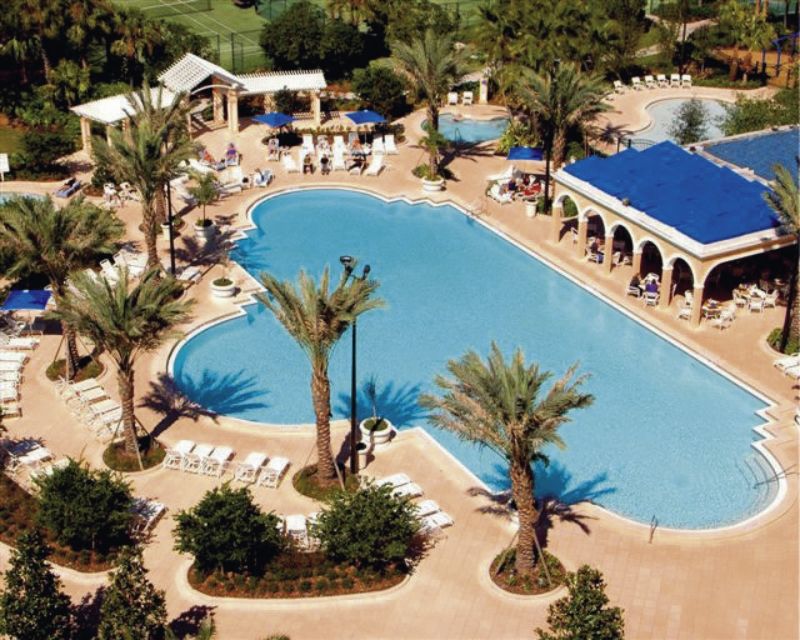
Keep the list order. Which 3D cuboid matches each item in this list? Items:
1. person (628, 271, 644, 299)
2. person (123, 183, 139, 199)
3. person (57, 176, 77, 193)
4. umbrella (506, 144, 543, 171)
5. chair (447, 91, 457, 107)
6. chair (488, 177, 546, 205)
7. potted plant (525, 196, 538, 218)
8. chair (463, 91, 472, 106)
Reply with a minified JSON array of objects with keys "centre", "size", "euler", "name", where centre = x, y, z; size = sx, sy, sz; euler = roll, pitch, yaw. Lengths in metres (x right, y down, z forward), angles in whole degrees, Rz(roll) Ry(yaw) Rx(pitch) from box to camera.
[{"centre":[10.988,-1.621,32.565],"size":[0.614,1.112,0.755],"euler":[-14,39,-15],"name":"person"},{"centre":[-15.814,-7.467,40.511],"size":[0.742,0.876,1.462],"euler":[-14,27,-20],"name":"person"},{"centre":[-19.630,-8.064,41.280],"size":[0.763,0.413,1.325],"euler":[1,27,5],"name":"person"},{"centre":[7.731,-9.714,42.979],"size":[1.908,1.778,1.968],"euler":[0,22,-1],"name":"umbrella"},{"centre":[4.006,-17.081,53.409],"size":[0.782,0.927,1.154],"euler":[-2,25,5],"name":"chair"},{"centre":[6.721,-7.640,40.883],"size":[2.377,1.000,1.759],"euler":[0,48,-8],"name":"chair"},{"centre":[7.266,-6.392,39.314],"size":[0.898,1.076,0.859],"euler":[-2,21,-6],"name":"potted plant"},{"centre":[5.070,-16.912,53.010],"size":[0.796,1.182,0.880],"euler":[1,39,3],"name":"chair"}]
